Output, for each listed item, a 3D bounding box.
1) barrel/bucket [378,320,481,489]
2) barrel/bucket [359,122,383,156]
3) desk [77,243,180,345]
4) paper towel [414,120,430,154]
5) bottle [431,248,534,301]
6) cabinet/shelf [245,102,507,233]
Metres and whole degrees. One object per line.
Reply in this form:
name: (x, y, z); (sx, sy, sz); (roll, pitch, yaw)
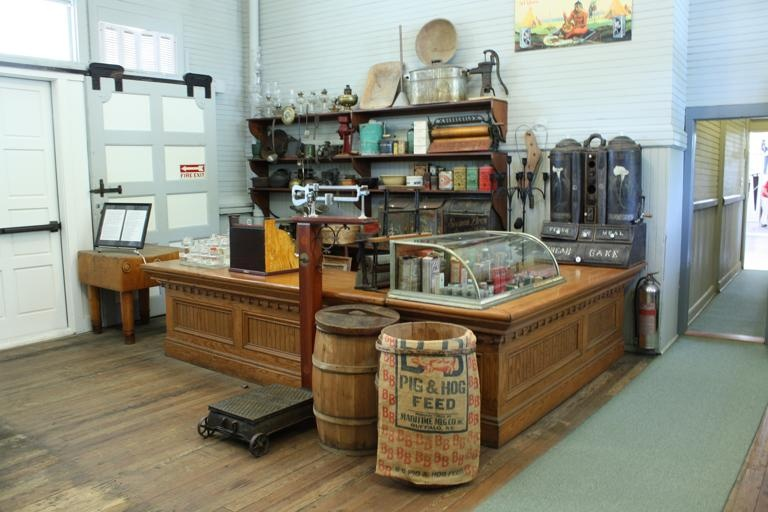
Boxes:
barrel/bucket: (0.333, 1.184, 4.050); (0.782, 1.166, 0.367); (-1, 16, -2)
barrel/bucket: (-0.209, -1.774, 8.288); (0.516, 0.481, 0.518); (1, 6, 0)
desk: (-3.334, 0.452, 7.589); (1.419, 1.279, 1.340); (4, 6, 41)
paper towel: (0.550, -1.678, 7.675); (0.229, 0.451, 0.235); (0, 15, 2)
bottle: (0.929, 0.147, 4.802); (0.848, 0.400, 0.422); (-8, 17, -29)
cabinet/shelf: (-0.336, -1.222, 8.241); (4.540, 2.019, 0.657); (6, 16, 32)
